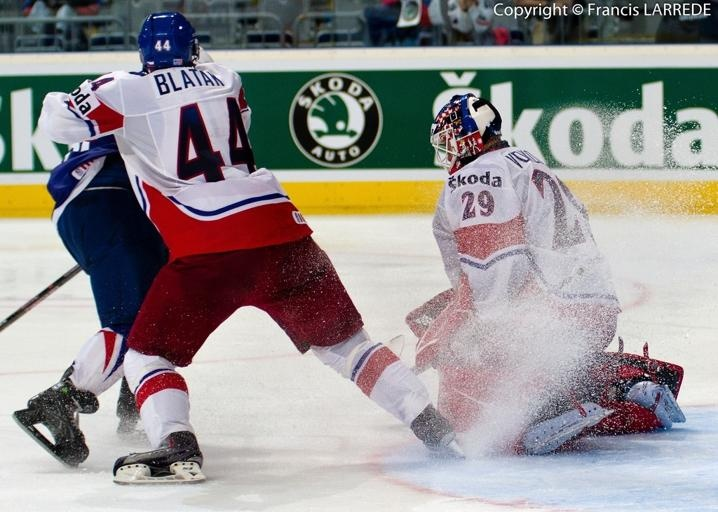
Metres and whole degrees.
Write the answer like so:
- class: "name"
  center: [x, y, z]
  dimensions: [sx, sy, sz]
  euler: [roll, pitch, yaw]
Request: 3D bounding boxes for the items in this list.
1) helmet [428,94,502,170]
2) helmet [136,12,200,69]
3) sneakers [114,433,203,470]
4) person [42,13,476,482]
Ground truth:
- class: "helmet"
  center: [0.466, -0.560, 5.640]
  dimensions: [0.367, 0.336, 0.298]
  euler: [-10, 5, 18]
- class: "helmet"
  center: [-0.857, -0.933, 5.466]
  dimensions: [0.241, 0.237, 0.265]
  euler: [-6, 25, 5]
- class: "sneakers"
  center: [-0.793, 0.789, 4.926]
  dimensions: [0.342, 0.148, 0.074]
  euler: [-4, 15, -9]
- class: "person"
  center: [-0.489, 0.022, 5.235]
  dimensions: [1.227, 1.595, 0.902]
  euler: [-5, 15, -14]
